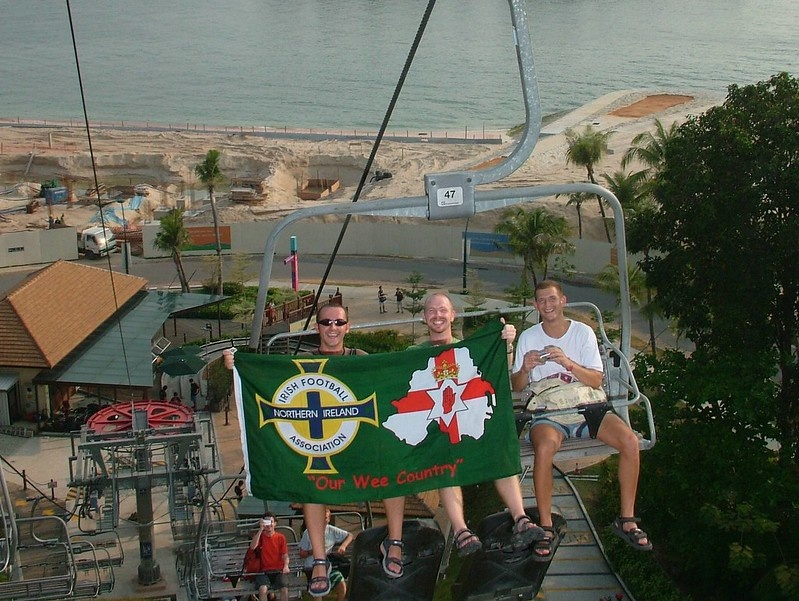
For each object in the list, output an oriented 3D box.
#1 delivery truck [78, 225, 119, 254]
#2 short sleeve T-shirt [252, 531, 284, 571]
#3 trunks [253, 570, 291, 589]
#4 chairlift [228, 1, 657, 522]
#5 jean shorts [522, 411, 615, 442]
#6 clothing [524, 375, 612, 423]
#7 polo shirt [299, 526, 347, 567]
[{"bbox_3d":[-21.874,-4.233,73.909,2.457,1.953,2.200,1,24,-2],"label":"delivery truck"},{"bbox_3d":[-3.222,6.056,25.009,1.192,1.018,0.710,2,-10,-7],"label":"short sleeve T-shirt"},{"bbox_3d":[-3.145,6.835,25.379,0.797,0.547,0.228,4,-17,-6],"label":"trunks"},{"bbox_3d":[0.606,-2.526,20.609,8.134,6.902,5.242,-1,26,-6],"label":"chairlift"},{"bbox_3d":[3.541,2.462,20.461,0.919,0.346,1.051,-4,6,-24],"label":"jean shorts"},{"bbox_3d":[3.325,1.947,21.219,1.497,0.642,1.854,-19,1,14],"label":"clothing"},{"bbox_3d":[-1.926,6.216,26.201,1.370,1.229,0.466,-1,20,-15],"label":"polo shirt"}]
